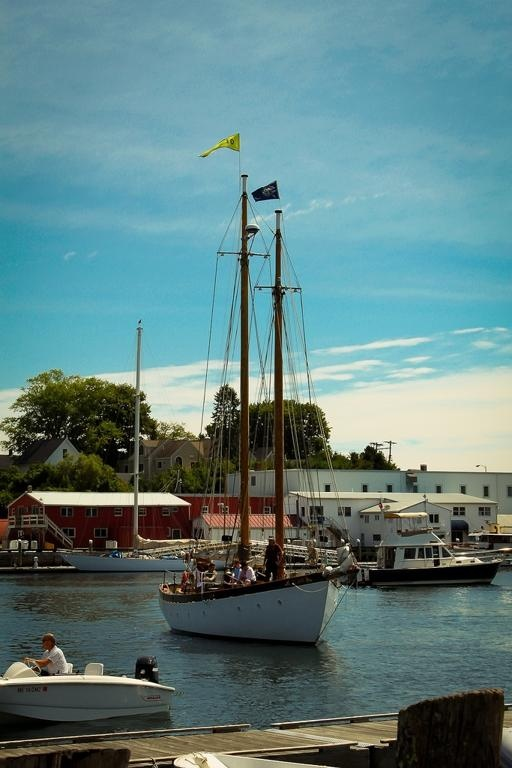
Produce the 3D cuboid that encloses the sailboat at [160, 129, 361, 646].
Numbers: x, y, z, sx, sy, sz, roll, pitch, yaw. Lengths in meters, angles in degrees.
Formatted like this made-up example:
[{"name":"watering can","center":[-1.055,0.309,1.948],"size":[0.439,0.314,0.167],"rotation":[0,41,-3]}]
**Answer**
[{"name":"sailboat","center":[1.033,3.093,35.813],"size":[3.087,21.991,5.506],"rotation":[10,-18,-36]}]
